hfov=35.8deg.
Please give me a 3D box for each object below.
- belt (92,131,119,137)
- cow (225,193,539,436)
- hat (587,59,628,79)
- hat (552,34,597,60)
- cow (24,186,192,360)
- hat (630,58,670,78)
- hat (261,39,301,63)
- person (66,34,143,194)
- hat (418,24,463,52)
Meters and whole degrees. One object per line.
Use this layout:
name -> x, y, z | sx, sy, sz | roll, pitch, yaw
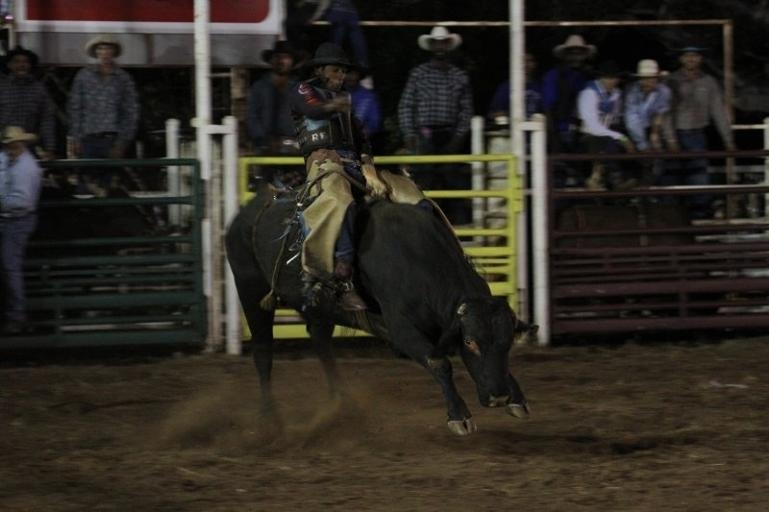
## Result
belt -> -3.268, -1.445, 13.995 | 0.276, 0.043, 0.031 | -2, 3, -10
cow -> -0.142, 0.442, 10.960 | 3.148, 2.172, 0.784 | 1, 6, 43
hat -> 2.738, -2.306, 14.498 | 0.562, 0.152, 0.497 | 2, -8, 2
hat -> 2.378, -2.675, 14.920 | 0.598, 0.170, 0.544 | 1, -1, 4
cow -> -3.072, 0.181, 13.564 | 2.605, 1.645, 1.468 | 1, -6, -7
hat -> 3.264, -2.372, 14.682 | 0.580, 0.147, 0.509 | 0, 1, 5
hat -> -1.180, -2.359, 13.729 | 0.640, 0.152, 0.545 | 1, -4, -9
person -> -3.295, -1.645, 14.020 | 0.817, 1.889, 0.697 | -4, 4, -10
hat -> 0.674, -2.664, 14.467 | 0.654, 0.136, 0.546 | 0, -12, 1
